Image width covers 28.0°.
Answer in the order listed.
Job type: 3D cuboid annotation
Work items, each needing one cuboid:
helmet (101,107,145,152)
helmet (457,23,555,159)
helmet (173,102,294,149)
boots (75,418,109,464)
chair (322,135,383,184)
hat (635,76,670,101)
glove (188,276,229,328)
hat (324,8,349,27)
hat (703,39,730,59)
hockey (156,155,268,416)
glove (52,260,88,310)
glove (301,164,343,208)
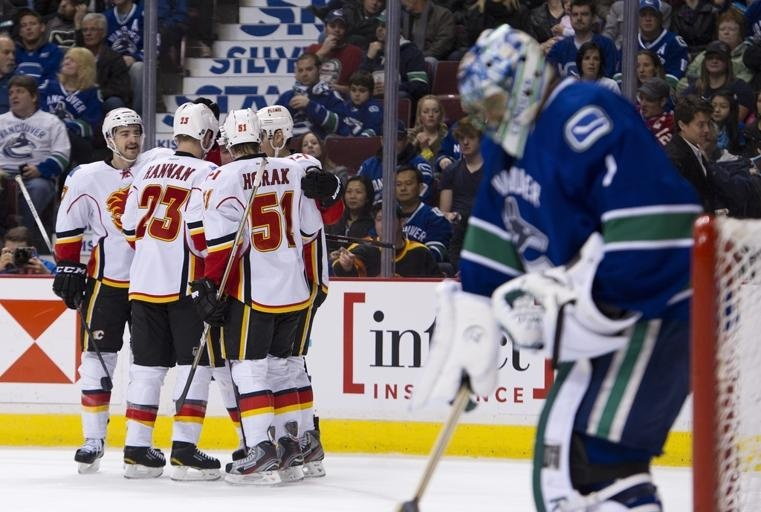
[{"bbox_3d":[-1.742,-0.866,10.238,0.257,0.281,0.311,-1,-15,-25],"label":"helmet"},{"bbox_3d":[0.595,-0.881,7.614,0.612,0.628,0.468,12,14,2],"label":"helmet"},{"bbox_3d":[-0.952,-0.863,9.876,0.584,0.211,0.394,1,0,-2],"label":"helmet"},{"bbox_3d":[-1.885,1.238,10.005,0.144,0.217,0.305,7,7,29],"label":"boots"},{"bbox_3d":[-0.224,-0.721,11.059,0.334,0.457,0.333,-2,-10,7],"label":"chair"},{"bbox_3d":[1.943,-1.196,10.896,0.204,0.098,0.149,2,5,-37],"label":"hat"},{"bbox_3d":[-1.087,0.280,9.590,0.228,0.286,0.132,9,35,43],"label":"glove"},{"bbox_3d":[-0.350,-1.810,11.588,0.189,0.123,0.292,3,1,-6],"label":"hat"},{"bbox_3d":[2.511,-1.561,11.383,0.142,0.093,0.190,2,-8,24],"label":"hat"},{"bbox_3d":[-1.023,0.196,9.693,0.511,1.678,0.324,4,7,3],"label":"hockey"},{"bbox_3d":[-2.064,0.204,10.106,0.233,0.294,0.109,6,-2,10],"label":"glove"},{"bbox_3d":[-0.384,-0.450,9.810,0.280,0.195,0.101,19,29,23],"label":"glove"}]
